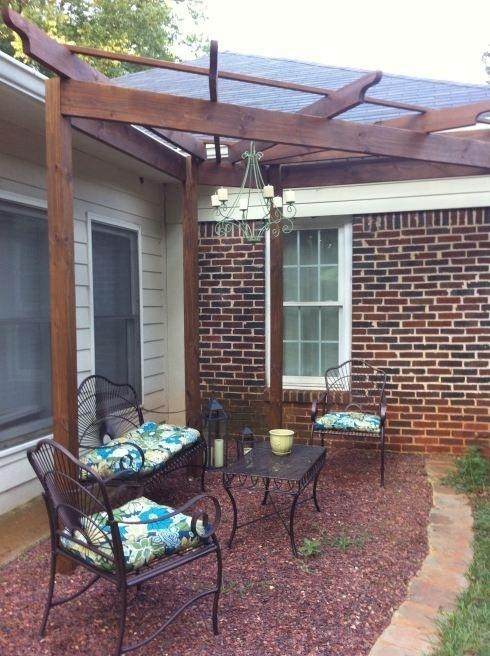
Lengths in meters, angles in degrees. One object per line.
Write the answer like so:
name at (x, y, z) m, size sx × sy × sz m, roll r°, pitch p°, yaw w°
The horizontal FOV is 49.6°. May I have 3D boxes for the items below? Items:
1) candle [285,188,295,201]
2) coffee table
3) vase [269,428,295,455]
candle at (0.272, -0.819, 3.226) m, size 0.060 × 0.072 × 0.062 m, roll 0°, pitch 4°, yaw 24°
coffee table at (0.171, 0.877, 3.145) m, size 0.418 × 0.456 × 0.727 m, roll 0°, pitch 1°, yaw 18°
vase at (0.236, 0.709, 3.324) m, size 0.136 × 0.130 × 0.141 m, roll 1°, pitch -4°, yaw -10°
